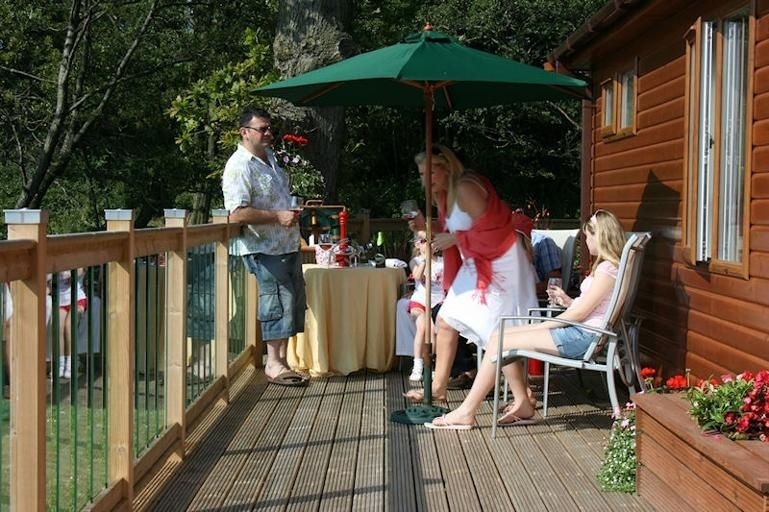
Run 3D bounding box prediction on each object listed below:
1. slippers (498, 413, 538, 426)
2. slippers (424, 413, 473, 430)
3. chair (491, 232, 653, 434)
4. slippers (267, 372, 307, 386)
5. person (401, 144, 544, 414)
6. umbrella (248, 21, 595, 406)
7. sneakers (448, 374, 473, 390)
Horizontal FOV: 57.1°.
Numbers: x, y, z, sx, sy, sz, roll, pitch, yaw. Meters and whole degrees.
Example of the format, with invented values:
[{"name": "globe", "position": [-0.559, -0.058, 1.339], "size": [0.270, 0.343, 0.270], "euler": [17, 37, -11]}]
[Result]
[{"name": "slippers", "position": [1.026, 1.213, 5.384], "size": [0.284, 0.087, 0.123], "euler": [2, -4, -11]}, {"name": "slippers", "position": [0.497, 1.206, 5.281], "size": [0.331, 0.099, 0.147], "euler": [3, -2, 3]}, {"name": "chair", "position": [1.409, 0.413, 4.979], "size": [1.013, 1.157, 0.730], "euler": [0, 7, -2]}, {"name": "slippers", "position": [-0.856, 1.085, 6.340], "size": [0.254, 0.089, 0.160], "euler": [0, 4, 5]}, {"name": "person", "position": [0.644, 0.159, 5.706], "size": [0.984, 2.093, 0.813], "euler": [0, -3, 13]}, {"name": "umbrella", "position": [0.301, -0.771, 5.867], "size": [2.632, 2.138, 2.570], "euler": [-7, 10, -44]}, {"name": "sneakers", "position": [0.697, 1.124, 6.385], "size": [0.245, 0.130, 0.103], "euler": [1, 2, -22]}]
